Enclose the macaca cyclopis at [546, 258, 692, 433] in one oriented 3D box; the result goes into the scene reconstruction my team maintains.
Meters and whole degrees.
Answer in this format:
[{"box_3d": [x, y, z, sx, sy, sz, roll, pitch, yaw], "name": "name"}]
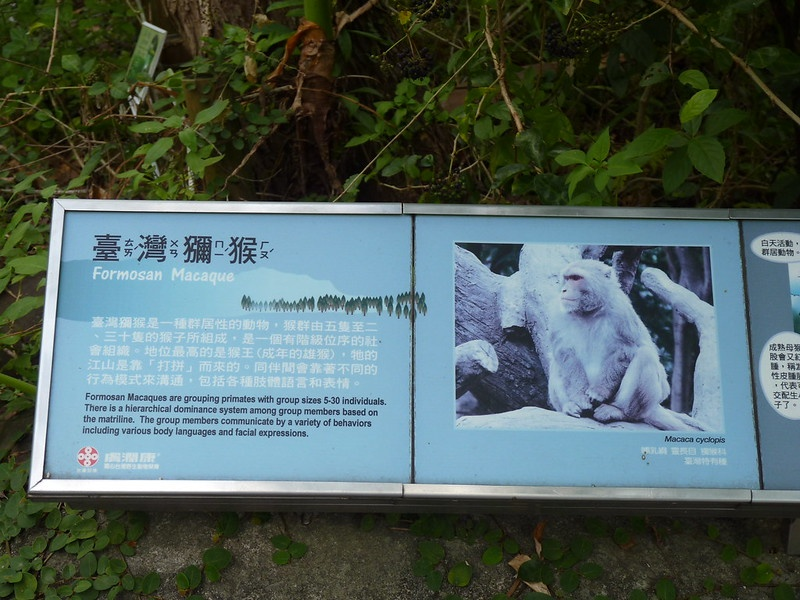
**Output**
[{"box_3d": [1.187, 0.254, 3.821, 0.944, 0.525, 0.781, 11, 78, -17], "name": "macaca cyclopis"}]
